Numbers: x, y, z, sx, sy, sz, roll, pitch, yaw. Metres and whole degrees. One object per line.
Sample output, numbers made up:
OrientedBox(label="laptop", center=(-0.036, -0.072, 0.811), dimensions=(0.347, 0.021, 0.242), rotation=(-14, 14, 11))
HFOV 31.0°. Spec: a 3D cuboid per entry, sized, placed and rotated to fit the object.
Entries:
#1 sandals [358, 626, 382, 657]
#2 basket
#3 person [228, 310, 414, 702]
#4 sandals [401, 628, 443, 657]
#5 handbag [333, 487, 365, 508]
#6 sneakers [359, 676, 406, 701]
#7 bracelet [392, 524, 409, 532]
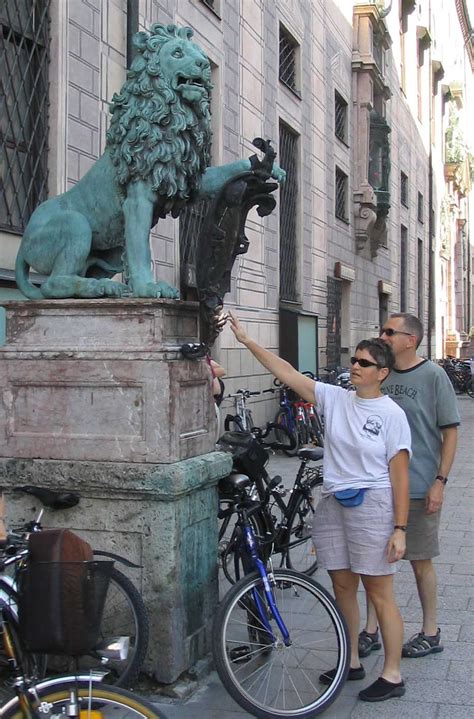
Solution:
OrientedBox(label="sandals", center=(0.638, 1.391, 4.163), dimensions=(0.062, 0.076, 0.172), rotation=(-4, -11, 24))
OrientedBox(label="basket", center=(-0.457, 0.722, 2.519), dimensions=(0.266, 0.321, 0.280), rotation=(-2, -32, 7))
OrientedBox(label="person", center=(0.482, 0.674, 3.735), dimensions=(0.298, 1.491, 0.657), rotation=(-3, -1, -34))
OrientedBox(label="sandals", center=(0.888, 1.386, 4.141), dimensions=(0.240, 0.101, 0.087), rotation=(6, -13, -38))
OrientedBox(label="handbag", center=(0.457, 0.577, 3.552), dimensions=(0.140, 0.069, 0.036), rotation=(-4, -1, 35))
OrientedBox(label="sneakers", center=(0.599, 1.384, 3.595), dimensions=(0.195, 0.082, 0.080), rotation=(1, -7, -19))
OrientedBox(label="bracelet", center=(0.658, 0.692, 3.519), dimensions=(0.045, 0.026, 0.042), rotation=(2, -4, 21))
